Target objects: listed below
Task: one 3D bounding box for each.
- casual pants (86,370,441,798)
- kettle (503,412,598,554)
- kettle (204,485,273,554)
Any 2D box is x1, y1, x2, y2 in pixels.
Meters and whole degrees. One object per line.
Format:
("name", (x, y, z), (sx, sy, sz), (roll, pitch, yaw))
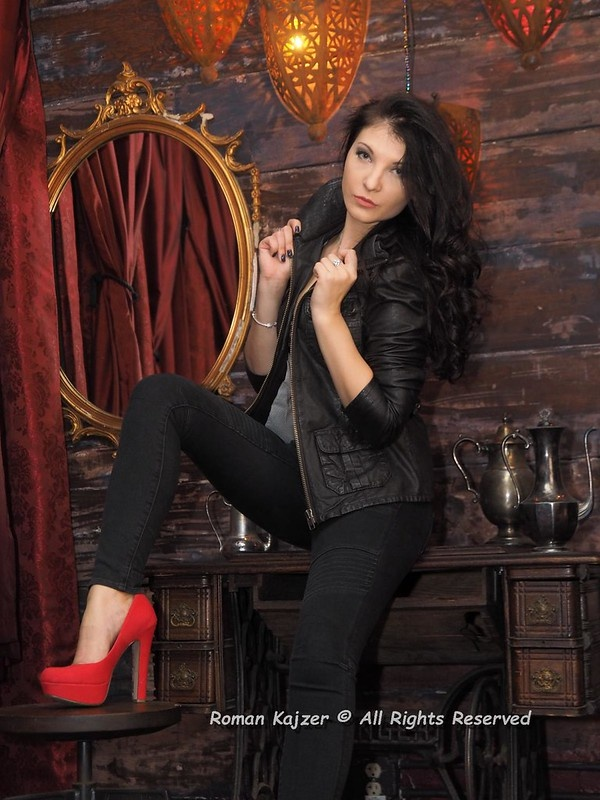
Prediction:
("casual pants", (-0.021, 0.276, 1.423), (0.432, 0.651, 0.550), (-1, 3, 21))
("kettle", (0.510, 0.166, 1.655), (0.182, 0.245, 0.331), (-2, 2, 13))
("kettle", (-0.145, 0.294, 2.017), (0.208, 0.178, 0.110), (-1, 9, 4))
